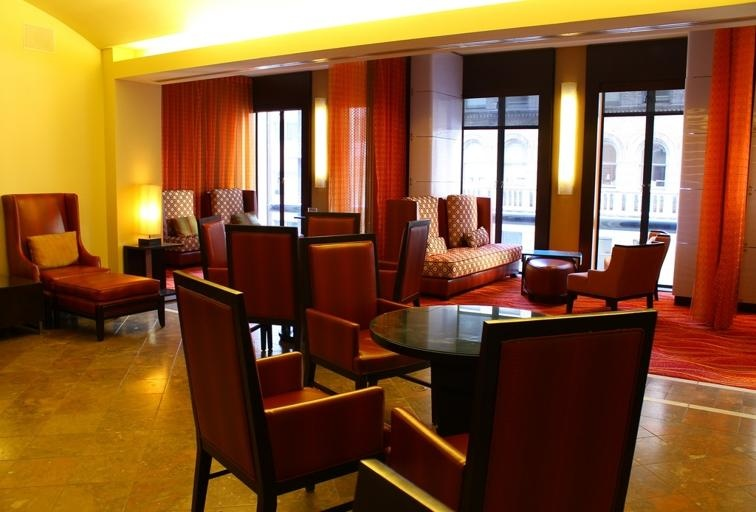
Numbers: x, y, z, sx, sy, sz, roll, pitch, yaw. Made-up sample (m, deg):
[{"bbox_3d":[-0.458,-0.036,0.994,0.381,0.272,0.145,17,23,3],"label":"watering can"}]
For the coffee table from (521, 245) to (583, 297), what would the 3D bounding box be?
[{"bbox_3d":[2.368,0.196,8.029,0.701,0.518,0.698,4,16,20],"label":"coffee table"}]

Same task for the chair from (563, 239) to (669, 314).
[{"bbox_3d":[2.928,0.165,7.202,1.011,1.023,0.977,-5,8,-41],"label":"chair"}]

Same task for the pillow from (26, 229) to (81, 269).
[{"bbox_3d":[-3.825,-0.076,6.716,0.152,0.286,0.427,5,14,35],"label":"pillow"}]

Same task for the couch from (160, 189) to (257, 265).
[{"bbox_3d":[-2.517,-0.432,8.221,0.687,0.894,1.348,3,7,30],"label":"couch"}]

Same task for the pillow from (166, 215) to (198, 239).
[{"bbox_3d":[-3.379,-0.509,9.877,0.502,0.302,0.444,-5,15,-22],"label":"pillow"}]

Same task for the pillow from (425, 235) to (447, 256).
[{"bbox_3d":[0.786,-0.139,7.954,0.221,0.209,0.727,-12,0,15],"label":"pillow"}]
